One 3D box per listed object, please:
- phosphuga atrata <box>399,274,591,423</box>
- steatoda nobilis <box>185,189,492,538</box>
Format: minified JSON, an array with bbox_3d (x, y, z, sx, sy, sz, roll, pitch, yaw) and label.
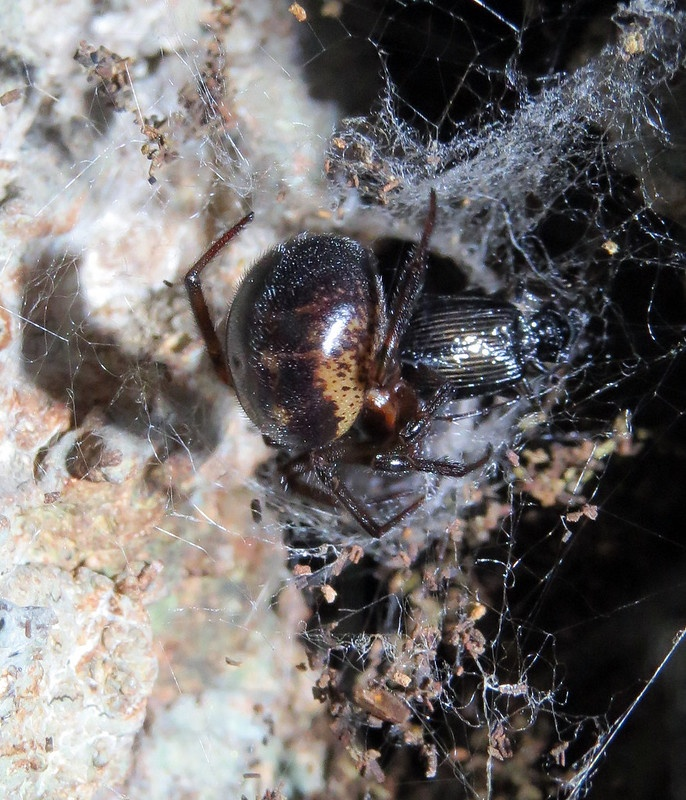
[{"bbox_3d":[0.385,-0.145,2.504,0.458,0.143,0.284,-2,98,-27],"label":"phosphuga atrata"},{"bbox_3d":[0.022,-0.055,2.164,0.940,0.661,0.545,1,102,22],"label":"steatoda nobilis"}]
